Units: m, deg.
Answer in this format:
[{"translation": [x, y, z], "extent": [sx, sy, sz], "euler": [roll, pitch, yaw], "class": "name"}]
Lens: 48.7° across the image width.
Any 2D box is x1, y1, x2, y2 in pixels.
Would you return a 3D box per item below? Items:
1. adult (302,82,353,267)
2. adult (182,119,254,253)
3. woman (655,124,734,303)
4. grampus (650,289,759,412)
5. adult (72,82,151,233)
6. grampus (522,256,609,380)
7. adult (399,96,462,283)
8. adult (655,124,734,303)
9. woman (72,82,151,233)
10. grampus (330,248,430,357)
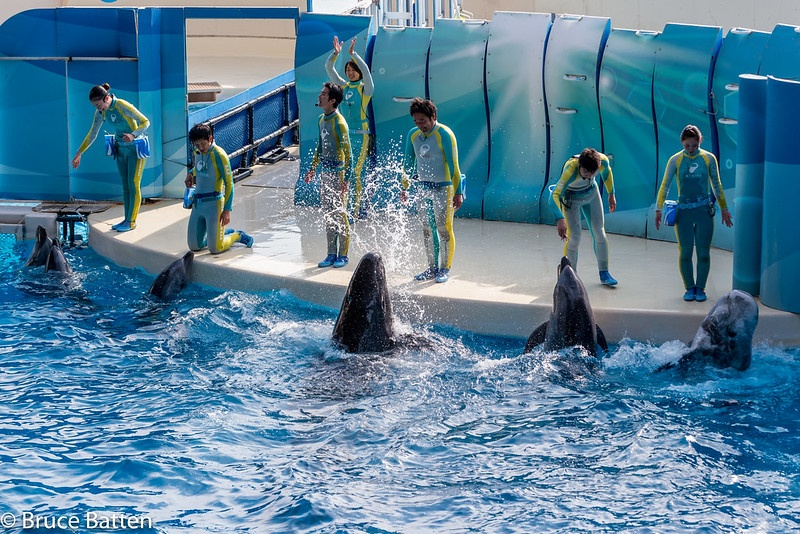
[{"translation": [-0.821, -1.084, 10.391], "extent": [0.500, 2.110, 0.588], "euler": [0, 8, -6], "class": "adult"}, {"translation": [-2.234, -0.959, 10.779], "extent": [0.693, 1.542, 0.762], "euler": [-3, 9, -29], "class": "adult"}, {"translation": [3.066, -0.554, 9.187], "extent": [0.730, 1.782, 0.389], "euler": [3, 8, 17], "class": "woman"}, {"translation": [2.931, 0.615, 8.245], "extent": [0.739, 0.791, 0.392], "euler": [3, 8, 16], "class": "grampus"}, {"translation": [-3.702, -1.425, 11.534], "extent": [0.793, 1.898, 0.689], "euler": [-2, 8, -20], "class": "adult"}, {"translation": [1.536, 0.497, 8.316], "extent": [0.612, 1.172, 0.353], "euler": [4, -34, 19], "class": "grampus"}, {"translation": [0.367, -0.859, 9.875], "extent": [0.714, 2.002, 0.568], "euler": [3, 8, 14], "class": "adult"}, {"translation": [3.067, -0.555, 9.189], "extent": [0.731, 1.782, 0.394], "euler": [3, 8, 18], "class": "adult"}, {"translation": [-3.702, -1.425, 11.534], "extent": [0.792, 1.898, 0.689], "euler": [-2, 8, -20], "class": "woman"}, {"translation": [-0.156, 0.315, 8.530], "extent": [0.774, 0.619, 0.902], "euler": [9, 15, 33], "class": "grampus"}]
